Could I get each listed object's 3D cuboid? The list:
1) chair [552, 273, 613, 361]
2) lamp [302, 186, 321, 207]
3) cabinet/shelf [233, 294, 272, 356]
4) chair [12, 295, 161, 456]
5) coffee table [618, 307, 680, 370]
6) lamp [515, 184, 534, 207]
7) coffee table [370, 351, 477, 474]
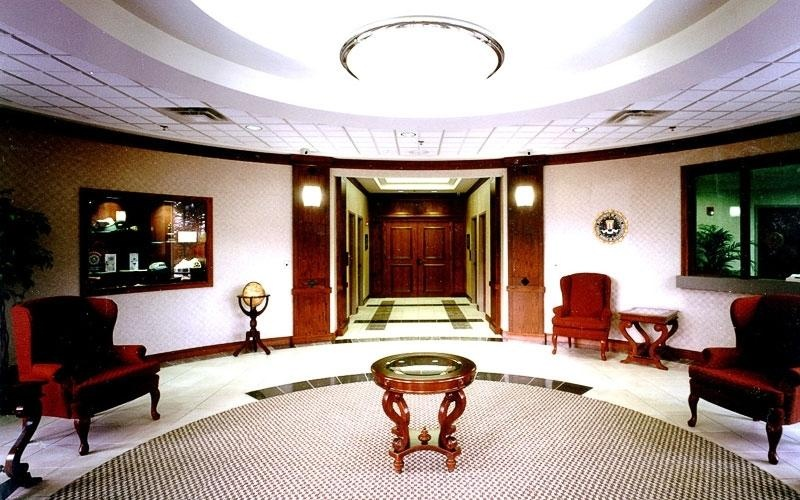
[{"bbox_3d":[3.205,1.134,8.575,0.927,1.378,0.792,3,10,19],"label":"chair"},{"bbox_3d":[-1.556,-0.961,8.685,0.422,0.334,0.395,-1,5,-26],"label":"lamp"},{"bbox_3d":[-2.700,1.331,8.699,0.627,1.080,0.579,-3,10,-15],"label":"cabinet/shelf"},{"bbox_3d":[-4.364,1.558,7.067,2.124,2.232,2.037,0,0,16],"label":"chair"},{"bbox_3d":[4.202,1.439,8.202,0.801,0.872,0.832,6,11,33],"label":"coffee table"},{"bbox_3d":[2.312,-0.992,8.808,0.448,0.369,0.414,-4,4,2],"label":"lamp"},{"bbox_3d":[0.264,1.966,6.243,1.423,1.147,1.269,-1,4,-4],"label":"coffee table"}]
